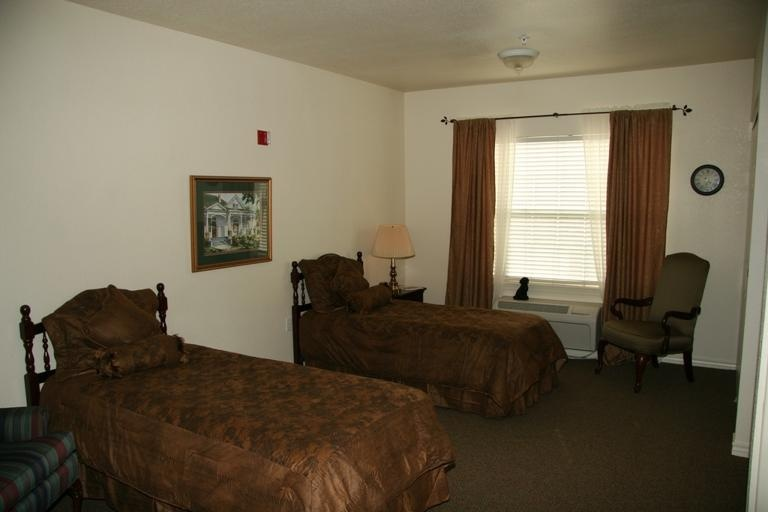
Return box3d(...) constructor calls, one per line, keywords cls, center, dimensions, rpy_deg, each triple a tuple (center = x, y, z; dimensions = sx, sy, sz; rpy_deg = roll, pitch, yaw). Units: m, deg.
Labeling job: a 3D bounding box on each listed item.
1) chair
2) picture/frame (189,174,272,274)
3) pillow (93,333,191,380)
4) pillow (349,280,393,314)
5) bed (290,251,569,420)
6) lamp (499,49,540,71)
box3d(cls="chair", center=(3.184, 0.733, 6.329), dimensions=(1.027, 1.549, 0.915), rpy_deg=(-2, 9, -17))
box3d(cls="picture/frame", center=(-1.660, -0.348, 5.618), dimensions=(0.040, 1.092, 1.024), rpy_deg=(7, 8, 42))
box3d(cls="pillow", center=(-2.003, 0.820, 4.437), dimensions=(0.319, 0.171, 0.457), rpy_deg=(7, 11, 44))
box3d(cls="pillow", center=(-0.150, 0.496, 6.210), dimensions=(0.152, 0.263, 0.439), rpy_deg=(-28, -13, 38))
box3d(cls="bed", center=(0.444, 0.840, 6.127), dimensions=(2.514, 1.342, 1.658), rpy_deg=(3, 10, 29))
box3d(cls="lamp", center=(1.443, -2.113, 5.672), dimensions=(0.250, 0.120, 0.251), rpy_deg=(-3, 9, -14))
